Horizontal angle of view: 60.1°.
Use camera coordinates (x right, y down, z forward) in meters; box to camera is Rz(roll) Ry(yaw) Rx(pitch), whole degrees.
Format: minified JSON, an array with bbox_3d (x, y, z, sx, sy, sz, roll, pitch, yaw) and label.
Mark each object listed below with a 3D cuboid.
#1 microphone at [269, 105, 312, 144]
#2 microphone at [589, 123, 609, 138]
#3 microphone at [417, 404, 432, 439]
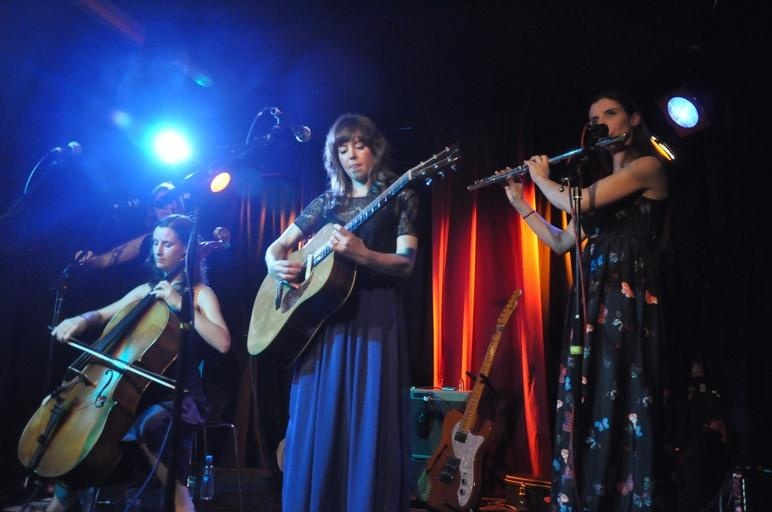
[{"bbox_3d":[-0.731,-0.962,5.100,0.365,0.194,0.053,17,-5,-18],"label":"microphone"},{"bbox_3d":[1.599,-0.934,5.005,0.085,0.134,0.045,2,4,22],"label":"microphone"},{"bbox_3d":[0.379,1.657,6.689,0.151,0.318,0.070,2,-5,11],"label":"microphone"}]
